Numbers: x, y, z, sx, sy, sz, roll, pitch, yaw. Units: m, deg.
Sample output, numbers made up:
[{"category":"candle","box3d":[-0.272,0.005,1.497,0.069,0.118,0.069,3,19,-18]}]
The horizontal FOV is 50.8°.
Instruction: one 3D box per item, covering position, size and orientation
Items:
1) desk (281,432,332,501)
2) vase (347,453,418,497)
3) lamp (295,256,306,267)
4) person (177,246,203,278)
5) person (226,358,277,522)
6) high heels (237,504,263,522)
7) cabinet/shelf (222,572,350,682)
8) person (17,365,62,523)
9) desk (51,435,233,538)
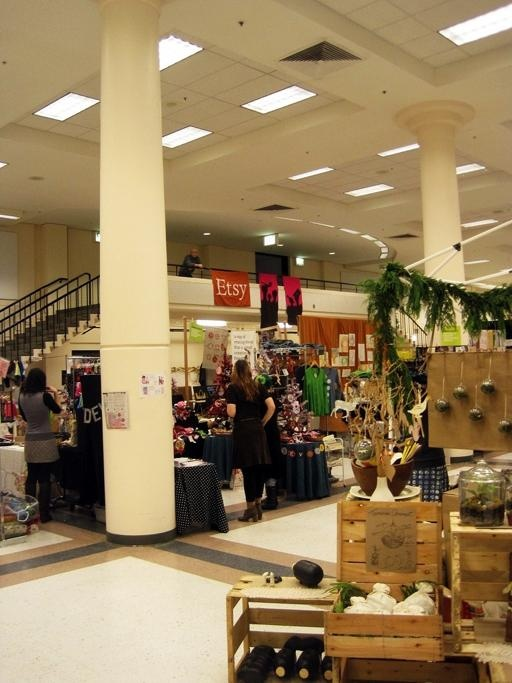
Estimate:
[{"category":"desk","box3d":[0.551,1.509,6.464,0.642,0.648,0.615,-2,-4,-7]},{"category":"vase","box3d":[0.487,0.529,2.078,0.225,0.122,0.257,-3,-1,11]},{"category":"lamp","box3d":[1.794,-3.268,21.773,0.104,0.377,0.419,1,1,28]},{"category":"person","box3d":[-1.710,-2.011,13.734,0.477,0.862,1.466,-3,-1,-8]},{"category":"person","box3d":[-0.023,0.952,5.038,0.408,1.093,0.524,-3,-1,4]},{"category":"high heels","box3d":[-0.033,1.660,5.177,0.292,0.193,0.110,0,3,20]},{"category":"cabinet/shelf","box3d":[0.113,1.188,2.250,0.445,0.319,0.515,-3,-1,6]},{"category":"person","box3d":[-2.159,1.040,5.441,0.469,1.545,0.290,-3,-2,1]},{"category":"desk","box3d":[-1.147,1.378,5.020,0.986,0.890,0.985,-6,-4,27]}]
